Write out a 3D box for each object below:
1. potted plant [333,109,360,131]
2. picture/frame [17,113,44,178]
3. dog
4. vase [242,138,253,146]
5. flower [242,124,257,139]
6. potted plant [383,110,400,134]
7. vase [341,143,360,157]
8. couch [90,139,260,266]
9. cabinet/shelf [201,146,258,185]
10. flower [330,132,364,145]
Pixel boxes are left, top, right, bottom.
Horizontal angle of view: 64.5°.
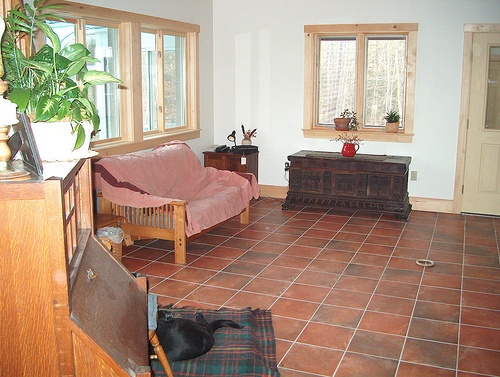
[{"bbox_3d":[1.671,-1.175,6.874,0.366,0.360,0.303,9,17,30],"label":"potted plant"},{"bbox_3d":[-0.782,-0.150,1.398,0.018,0.184,0.238,-14,15,-21],"label":"picture/frame"},{"bbox_3d":[-0.428,1.148,3.013,0.627,0.325,0.234,22,-19,-3],"label":"dog"},{"bbox_3d":[-0.073,-0.839,7.289,0.154,0.110,0.087,1,14,3],"label":"vase"},{"bbox_3d":[-0.043,-1.004,7.345,0.341,0.147,0.241,11,11,8],"label":"flower"},{"bbox_3d":[2.370,-1.111,6.625,0.323,0.438,0.338,3,8,20],"label":"potted plant"},{"bbox_3d":[1.636,-0.620,6.511,0.281,0.201,0.212,0,8,1],"label":"vase"},{"bbox_3d":[-0.887,0.089,5.450,1.492,1.177,2.132,4,13,18],"label":"couch"},{"bbox_3d":[-0.374,-0.509,7.190,0.942,0.872,0.557,1,8,14],"label":"cabinet/shelf"},{"bbox_3d":[1.608,-0.816,6.672,0.574,0.239,0.554,4,15,15],"label":"flower"}]
